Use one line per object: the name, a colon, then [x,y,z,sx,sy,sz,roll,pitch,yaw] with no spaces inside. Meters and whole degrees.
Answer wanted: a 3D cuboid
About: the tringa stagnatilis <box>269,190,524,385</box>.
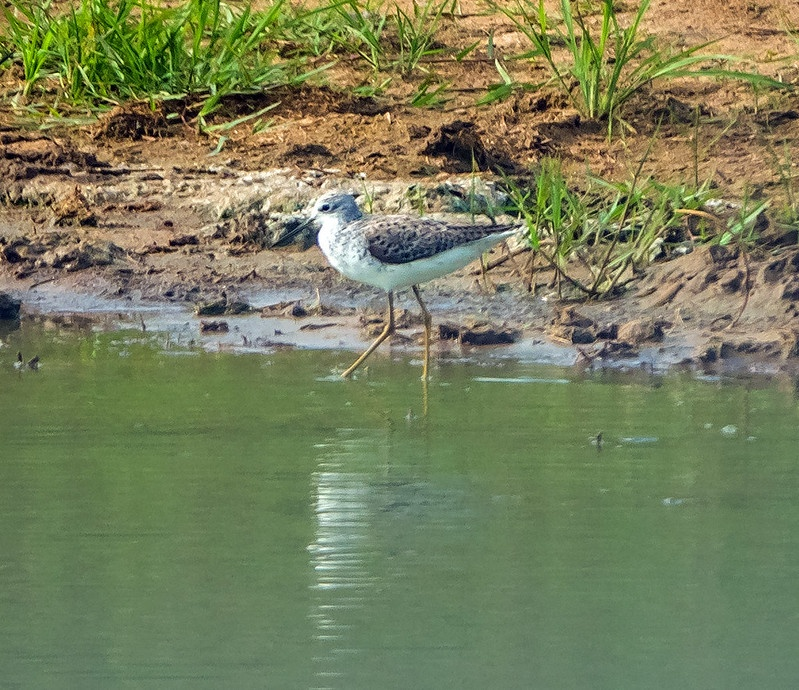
tringa stagnatilis: [-0.011,-0.387,9.946,1.531,0.507,1.060,1,88,-3]
